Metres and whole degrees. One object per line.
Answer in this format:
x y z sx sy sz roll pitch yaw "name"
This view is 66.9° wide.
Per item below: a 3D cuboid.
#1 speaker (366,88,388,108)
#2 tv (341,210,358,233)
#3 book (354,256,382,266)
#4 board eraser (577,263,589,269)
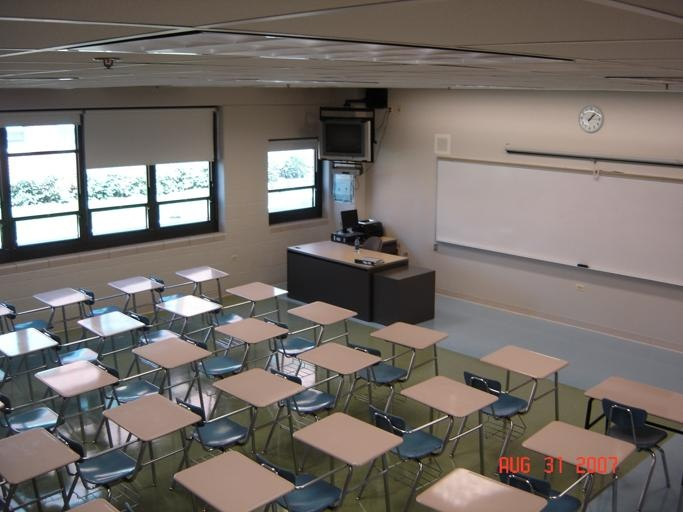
0.735 -3.231 10.541 0.421 0.400 0.219 -1 -4 25 "speaker"
0.155 -0.693 10.443 0.197 0.376 0.374 11 18 44 "tv"
0.435 0.096 8.675 0.499 0.157 0.352 0 -2 27 "book"
3.916 0.170 8.427 0.110 0.044 0.069 7 17 18 "board eraser"
